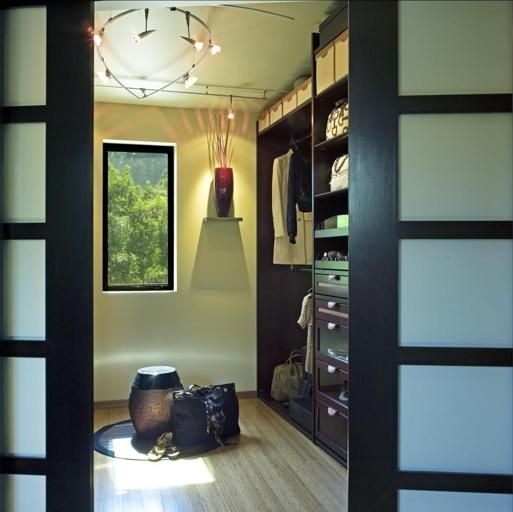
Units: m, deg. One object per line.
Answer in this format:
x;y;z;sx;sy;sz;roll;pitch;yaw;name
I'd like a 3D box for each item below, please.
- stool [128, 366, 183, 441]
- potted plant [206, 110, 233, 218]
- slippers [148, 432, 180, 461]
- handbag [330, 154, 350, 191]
-0.691;0.947;3.283;0.329;0.541;0.406;1;-7;2;stool
-0.317;-0.812;4.368;0.236;0.959;0.221;0;0;-7;potted plant
-0.584;1.184;3.121;0.200;0.094;0.223;0;0;-13;slippers
0.489;-0.491;3.000;0.070;0.213;0.303;0;0;-11;handbag
